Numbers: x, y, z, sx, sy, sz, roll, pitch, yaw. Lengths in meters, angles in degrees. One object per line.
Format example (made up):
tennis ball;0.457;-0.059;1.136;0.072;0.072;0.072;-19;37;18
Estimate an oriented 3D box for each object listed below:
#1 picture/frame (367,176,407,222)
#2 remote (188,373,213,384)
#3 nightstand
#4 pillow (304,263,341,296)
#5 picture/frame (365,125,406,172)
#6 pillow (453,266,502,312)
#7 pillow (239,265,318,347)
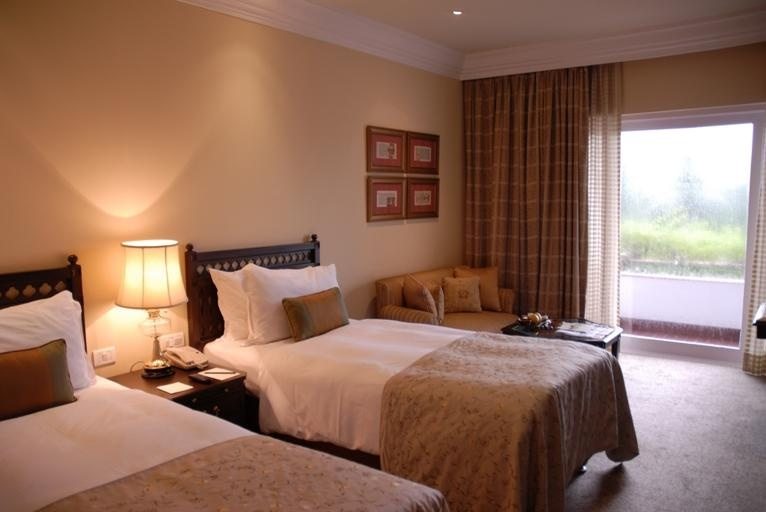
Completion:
picture/frame;0.018;-0.678;6.412;0.028;0.454;0.540;4;9;40
remote;-1.424;0.958;4.250;0.153;0.039;0.079;7;8;29
nightstand;-1.530;1.058;4.268;0.600;0.385;0.606;5;10;34
pillow;-0.576;0.220;5.240;0.082;0.261;0.273;-23;-8;38
picture/frame;0.004;-1.257;6.338;0.028;0.441;0.587;3;7;39
pillow;1.286;0.458;6.974;0.527;0.549;0.218;-3;-14;3
pillow;-0.942;0.475;4.779;0.226;0.502;0.665;-5;0;38
